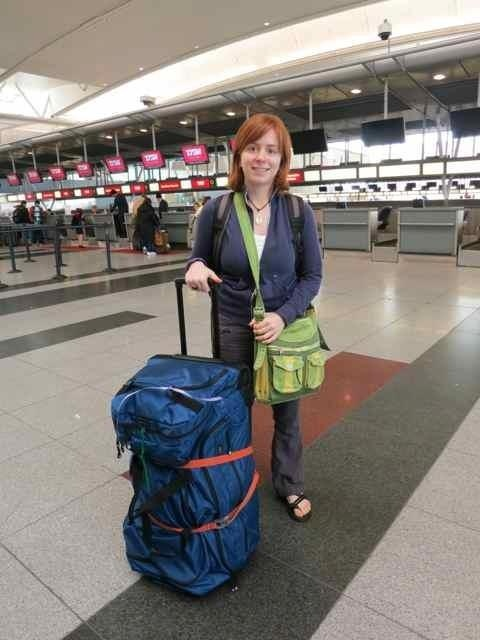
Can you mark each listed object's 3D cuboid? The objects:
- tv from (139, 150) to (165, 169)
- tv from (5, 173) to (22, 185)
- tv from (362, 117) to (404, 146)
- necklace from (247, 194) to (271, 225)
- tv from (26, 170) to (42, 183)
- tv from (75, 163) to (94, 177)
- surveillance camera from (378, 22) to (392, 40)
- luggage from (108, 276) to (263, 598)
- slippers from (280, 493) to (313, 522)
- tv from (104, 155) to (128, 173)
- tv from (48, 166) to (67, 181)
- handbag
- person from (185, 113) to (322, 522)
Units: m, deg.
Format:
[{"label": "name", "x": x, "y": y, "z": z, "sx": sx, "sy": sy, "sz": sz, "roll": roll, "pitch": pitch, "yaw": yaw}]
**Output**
[{"label": "tv", "x": -3.233, "y": -6.017, "z": 17.712, "sx": 0.721, "sy": 0.652, "sz": 0.927, "roll": -9, "pitch": 22, "yaw": -19}, {"label": "tv", "x": -12.088, "y": -7.613, "z": 25.491, "sx": 0.556, "sy": 0.558, "sz": 1.101, "roll": -14, "pitch": 16, "yaw": -31}, {"label": "tv", "x": 3.664, "y": -4.849, "z": 12.143, "sx": 1.038, "sy": 0.598, "sz": 0.485, "roll": 2, "pitch": 16, "yaw": 29}, {"label": "necklace", "x": 0.067, "y": -0.376, "z": 1.593, "sx": 0.081, "sy": 0.108, "sz": 0.057, "roll": -1, "pitch": -2, "yaw": 0}, {"label": "tv", "x": -10.314, "y": -7.436, "z": 23.944, "sx": 0.817, "sy": 0.800, "sz": 0.240, "roll": -3, "pitch": 3, "yaw": 23}, {"label": "tv", "x": -6.746, "y": -6.582, "z": 20.643, "sx": 0.566, "sy": 0.546, "sz": 0.964, "roll": -8, "pitch": 14, "yaw": -12}, {"label": "surveillance camera", "x": 2.767, "y": -5.528, "z": 8.987, "sx": 0.201, "sy": 0.309, "sz": 0.579, "roll": 0, "pitch": 14, "yaw": 22}, {"label": "luggage", "x": -0.149, "y": 0.475, "z": 1.445, "sx": 0.445, "sy": 0.670, "sz": 0.294, "roll": -10, "pitch": 14, "yaw": -18}, {"label": "slippers", "x": 0.224, "y": 0.701, "z": 1.786, "sx": 0.060, "sy": 0.029, "sz": 0.107, "roll": -10, "pitch": 18, "yaw": -31}, {"label": "tv", "x": -4.915, "y": -6.216, "z": 18.848, "sx": 1.003, "sy": 0.633, "sz": 0.428, "roll": 7, "pitch": 19, "yaw": 43}, {"label": "tv", "x": -8.664, "y": -7.022, "z": 22.563, "sx": 0.841, "sy": 0.770, "sz": 0.715, "roll": 3, "pitch": -8, "yaw": -25}, {"label": "handbag", "x": 0.169, "y": 0.094, "z": 1.634, "sx": 0.360, "sy": 0.348, "sz": 0.180, "roll": -8, "pitch": 13, "yaw": -36}, {"label": "person", "x": 0.056, "y": 0.013, "z": 1.648, "sx": 0.452, "sy": 1.362, "sz": 0.430, "roll": 2, "pitch": 10, "yaw": 9}]
